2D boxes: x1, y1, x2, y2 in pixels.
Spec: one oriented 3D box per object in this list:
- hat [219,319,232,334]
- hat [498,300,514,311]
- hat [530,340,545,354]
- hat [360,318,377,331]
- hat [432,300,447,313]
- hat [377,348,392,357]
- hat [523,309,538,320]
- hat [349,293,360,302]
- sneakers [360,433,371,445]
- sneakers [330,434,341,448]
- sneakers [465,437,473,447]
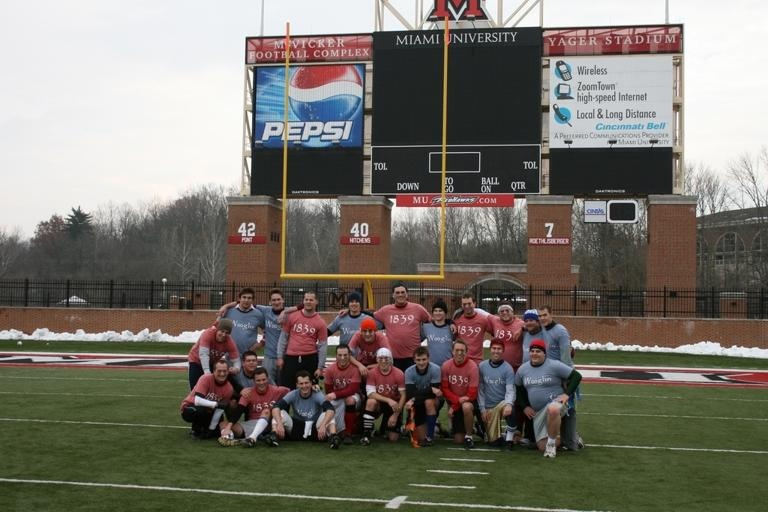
[{"bbox_3d":[-3.425,1.484,23.045,0.237,0.250,0.310,24,-5,-27],"label":"hat"},{"bbox_3d":[2.613,1.128,23.417,0.264,0.227,0.528,-2,-3,12],"label":"hat"},{"bbox_3d":[3.191,1.882,22.536,0.330,0.295,0.258,-1,-3,7],"label":"hat"},{"bbox_3d":[-0.359,1.450,23.161,0.342,0.278,0.300,0,-3,-12],"label":"hat"},{"bbox_3d":[1.181,1.088,23.339,0.238,0.242,0.287,3,2,7],"label":"hat"},{"bbox_3d":[-0.032,2.046,22.938,0.288,0.193,0.398,-1,-3,-6],"label":"hat"},{"bbox_3d":[3.102,1.236,22.863,0.198,0.214,0.279,-5,-11,37],"label":"hat"},{"bbox_3d":[-0.675,0.911,23.646,0.190,0.149,0.192,4,-11,-3],"label":"hat"},{"bbox_3d":[-0.407,3.848,22.651,0.165,0.225,0.225,4,15,9],"label":"sneakers"},{"bbox_3d":[-1.052,3.845,22.386,0.234,0.290,0.228,-1,-3,4],"label":"sneakers"},{"bbox_3d":[1.747,3.876,22.588,0.174,0.226,0.224,-1,-3,4],"label":"sneakers"}]
